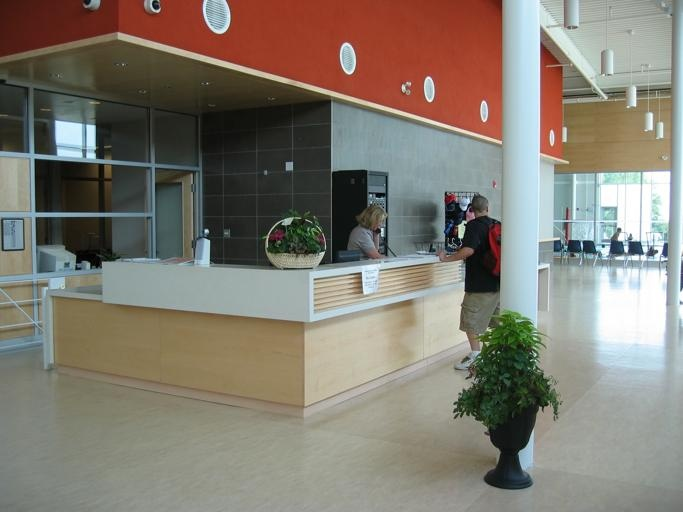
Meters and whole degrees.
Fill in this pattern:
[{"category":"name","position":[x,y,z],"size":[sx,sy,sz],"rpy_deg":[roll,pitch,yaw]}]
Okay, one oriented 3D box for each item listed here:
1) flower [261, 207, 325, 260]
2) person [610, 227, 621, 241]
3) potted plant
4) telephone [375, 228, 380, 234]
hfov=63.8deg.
[{"category":"flower","position":[-0.328,-0.225,4.864],"size":[0.365,0.284,0.398],"rpy_deg":[4,-1,31]},{"category":"person","position":[9.725,-0.779,19.446],"size":[0.263,0.424,1.033],"rpy_deg":[2,5,25]},{"category":"potted plant","position":[1.103,0.945,3.670],"size":[0.663,1.125,0.355],"rpy_deg":[1,3,14]},{"category":"telephone","position":[0.509,-0.354,7.563],"size":[0.084,0.099,0.022],"rpy_deg":[-3,-7,-3]}]
